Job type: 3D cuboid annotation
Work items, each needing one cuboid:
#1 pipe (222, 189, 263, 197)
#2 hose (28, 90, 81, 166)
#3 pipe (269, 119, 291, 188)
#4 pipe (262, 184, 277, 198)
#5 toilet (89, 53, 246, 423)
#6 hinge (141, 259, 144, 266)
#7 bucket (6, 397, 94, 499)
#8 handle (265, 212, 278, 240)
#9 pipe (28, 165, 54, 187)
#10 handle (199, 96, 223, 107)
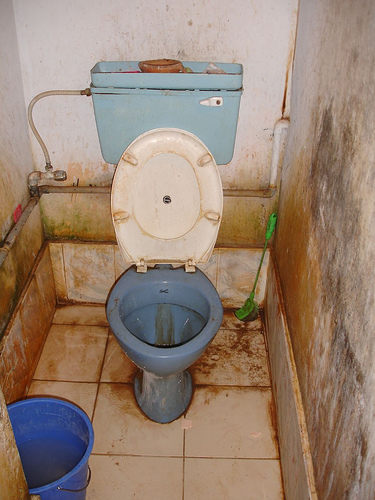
[{"bbox_3d":[0.243,-0.246,1.882,0.175,0.044,0.037,-1,30,-1],"label":"pipe"},{"bbox_3d":[-0.505,-0.472,1.743,0.230,0.411,0.072,-4,49,-8],"label":"hose"},{"bbox_3d":[0.381,-0.396,1.788,0.067,0.297,0.048,9,27,19],"label":"pipe"},{"bbox_3d":[0.357,-0.252,1.868,0.048,0.056,0.043,10,45,7],"label":"pipe"},{"bbox_3d":[-0.094,0.081,1.584,0.429,1.312,1.007,2,61,-3],"label":"toilet"},{"bbox_3d":[-0.163,0.044,1.554,0.010,0.028,0.015,2,46,-3],"label":"hinge"},{"bbox_3d":[-0.396,0.564,1.221,0.214,0.238,0.252,-11,41,-22],"label":"bucket"},{"bbox_3d":[0.366,-0.108,1.878,0.030,0.164,0.043,11,10,7],"label":"handle"},{"bbox_3d":[-0.622,-0.316,1.805,0.068,0.108,0.035,-1,33,-9],"label":"pipe"},{"bbox_3d":[0.080,-0.465,1.339,0.048,0.020,0.034,-1,6,9],"label":"handle"}]
